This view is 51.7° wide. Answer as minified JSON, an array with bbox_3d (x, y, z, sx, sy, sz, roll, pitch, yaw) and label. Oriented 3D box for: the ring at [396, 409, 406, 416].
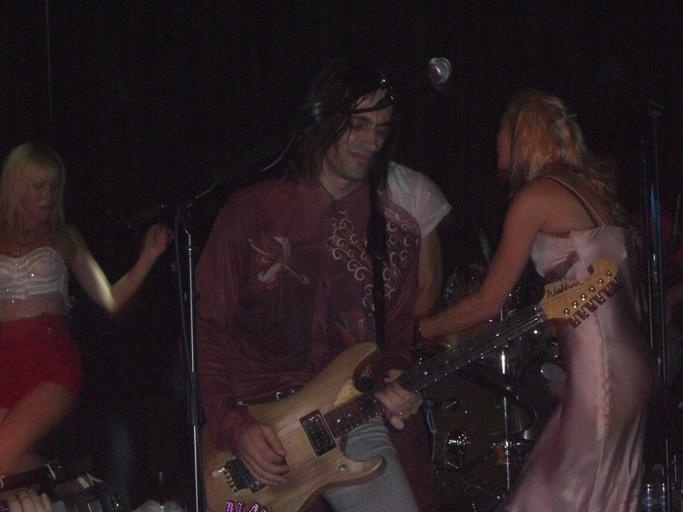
[{"bbox_3d":[0.265,0.698,3.149,0.030,0.008,0.032,-38,-29,-25],"label":"ring"}]
